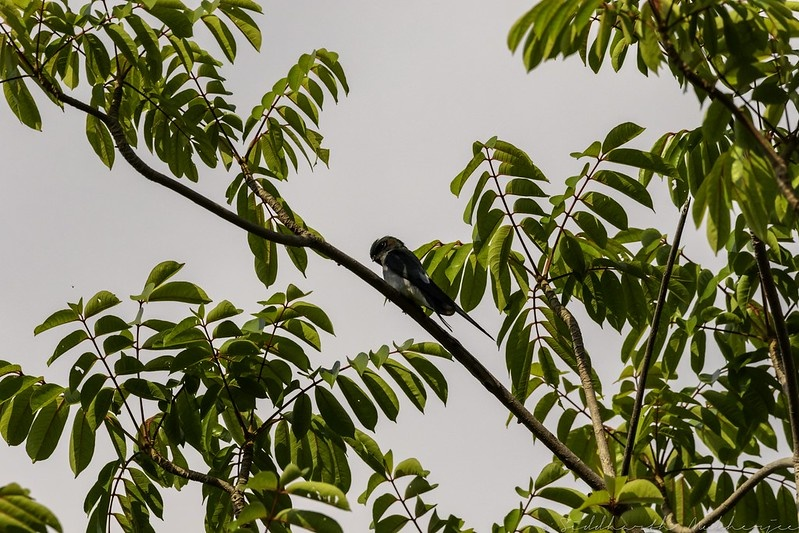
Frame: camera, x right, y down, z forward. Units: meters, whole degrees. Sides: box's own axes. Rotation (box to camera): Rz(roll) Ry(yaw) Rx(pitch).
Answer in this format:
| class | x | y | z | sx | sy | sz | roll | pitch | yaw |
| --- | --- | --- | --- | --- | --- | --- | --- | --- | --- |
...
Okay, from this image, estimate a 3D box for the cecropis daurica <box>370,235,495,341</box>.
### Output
| class | x | y | z | sx | sy | sz | roll | pitch | yaw |
| --- | --- | --- | --- | --- | --- | --- | --- | --- | --- |
| cecropis daurica | 0.312 | 0.124 | 8.757 | 0.986 | 0.458 | 0.262 | 24 | -29 | 33 |
